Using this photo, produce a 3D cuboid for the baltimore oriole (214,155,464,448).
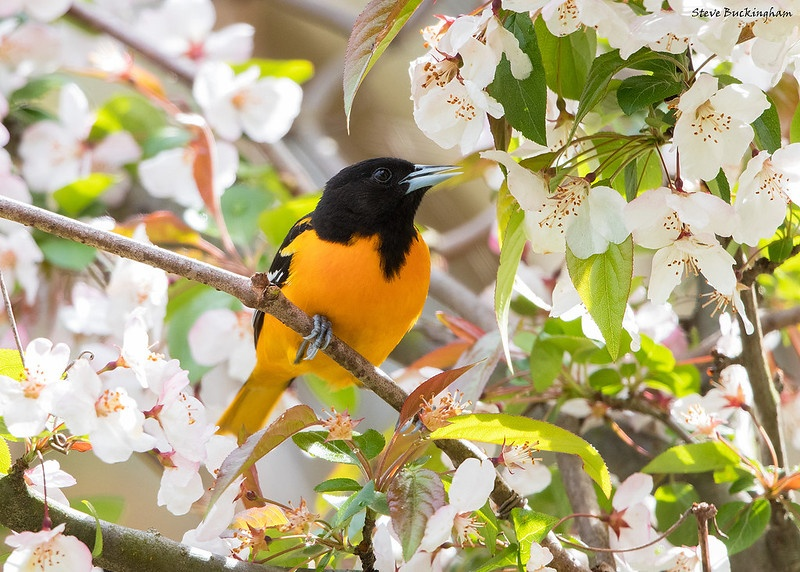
[{"bbox_3d":[-0.269,0.050,3.567,0.526,1.545,0.709,33,38,-22],"label":"baltimore oriole"}]
